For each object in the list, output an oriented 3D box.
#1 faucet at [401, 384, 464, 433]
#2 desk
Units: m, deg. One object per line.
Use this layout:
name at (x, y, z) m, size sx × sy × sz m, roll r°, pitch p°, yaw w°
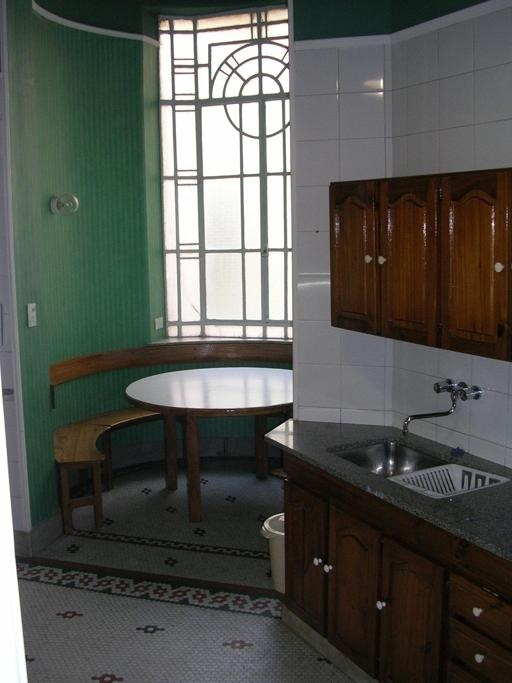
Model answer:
faucet at (0.846, 0.309, 3.041) m, size 0.253 × 0.302 × 0.430 m, roll 1°, pitch 9°, yaw 14°
desk at (-0.235, 0.802, 4.899) m, size 1.255 × 0.823 × 1.302 m, roll -5°, pitch 3°, yaw -7°
